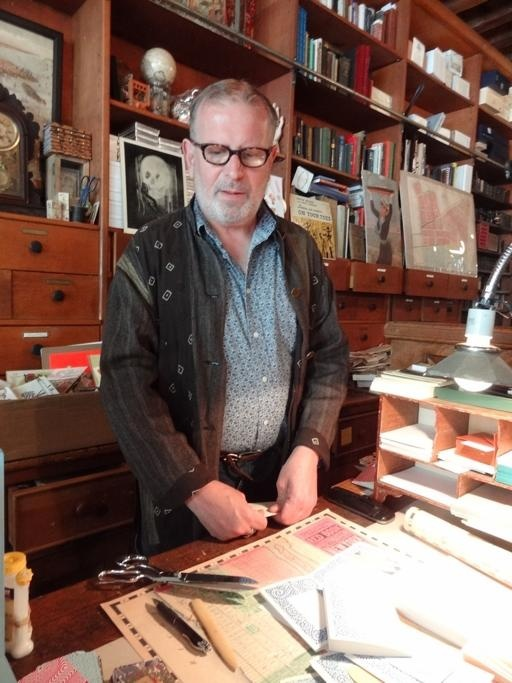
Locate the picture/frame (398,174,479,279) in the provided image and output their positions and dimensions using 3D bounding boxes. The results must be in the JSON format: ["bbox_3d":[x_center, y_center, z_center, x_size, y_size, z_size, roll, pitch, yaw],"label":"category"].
[{"bbox_3d":[1.278,-0.766,3.563,1.101,0.717,0.052,-3,-2,-45],"label":"picture/frame"}]

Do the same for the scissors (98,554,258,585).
[{"bbox_3d":[-0.109,0.321,0.724,0.219,0.022,0.069,2,-6,7],"label":"scissors"}]

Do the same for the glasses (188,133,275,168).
[{"bbox_3d":[-0.049,-0.379,1.052,0.148,0.055,0.049,-1,7,-5],"label":"glasses"}]

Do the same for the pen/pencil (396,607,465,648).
[{"bbox_3d":[0.208,0.336,0.633,0.082,0.021,0.022,18,-9,40],"label":"pen/pencil"}]

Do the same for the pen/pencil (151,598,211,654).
[{"bbox_3d":[-0.088,0.340,0.618,0.023,0.026,0.134,39,-16,-29],"label":"pen/pencil"}]

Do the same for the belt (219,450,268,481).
[{"bbox_3d":[-0.036,0.271,1.156,0.086,0.031,0.064,5,9,-4],"label":"belt"}]

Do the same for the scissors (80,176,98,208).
[{"bbox_3d":[-0.617,-0.547,1.938,0.091,0.130,0.037,12,10,27],"label":"scissors"}]
